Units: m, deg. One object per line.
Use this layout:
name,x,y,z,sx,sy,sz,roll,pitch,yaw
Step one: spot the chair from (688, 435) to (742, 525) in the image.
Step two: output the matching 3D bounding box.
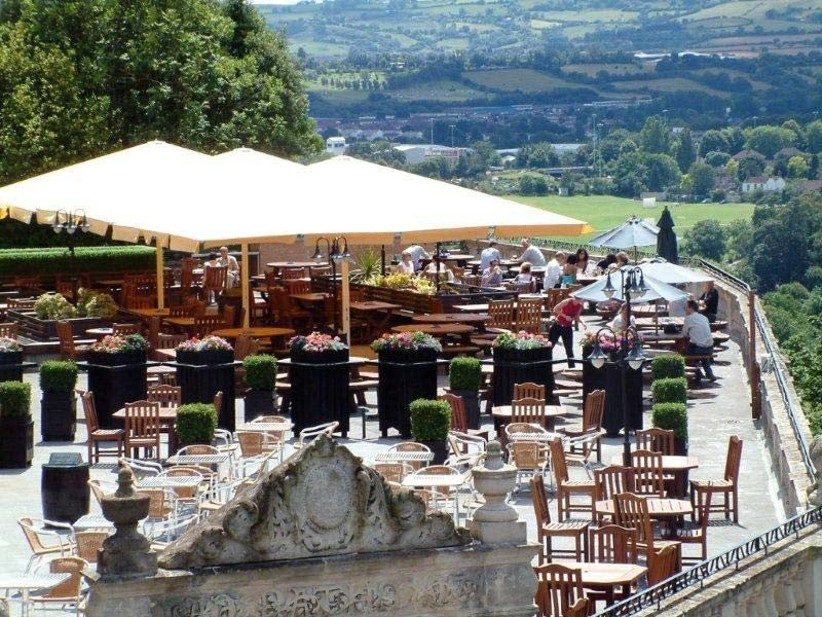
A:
chair,5.234,2.886,34.504,0.853,1.652,0.959,0,10,7

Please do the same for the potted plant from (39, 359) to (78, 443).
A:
potted plant,-6.466,1.749,37.762,0.641,1.576,0.563,4,12,37

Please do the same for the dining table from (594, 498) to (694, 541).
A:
dining table,4.073,3.559,33.387,1.821,0.719,1.700,-3,3,38

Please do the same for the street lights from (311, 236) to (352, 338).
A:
street lights,-1.789,-0.422,46.167,0.779,2.425,0.727,9,15,44

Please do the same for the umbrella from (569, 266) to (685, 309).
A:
umbrella,4.602,-0.458,43.346,1.847,0.991,1.763,-3,8,33

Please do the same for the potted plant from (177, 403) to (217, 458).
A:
potted plant,-3.768,2.166,35.757,0.742,0.964,0.725,0,0,-9

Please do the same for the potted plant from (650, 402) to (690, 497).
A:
potted plant,4.720,2.469,36.192,0.662,1.445,0.552,-1,6,24

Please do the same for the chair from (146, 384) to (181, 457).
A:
chair,-4.527,2.090,37.137,0.593,1.250,0.545,-2,7,-1

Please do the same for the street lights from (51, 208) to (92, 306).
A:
street lights,-8.496,-1.222,50.472,0.578,2.326,0.649,7,16,39

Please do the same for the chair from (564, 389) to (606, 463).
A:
chair,3.225,2.165,36.742,0.687,1.283,0.626,1,9,33

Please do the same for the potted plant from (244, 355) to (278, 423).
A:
potted plant,-2.888,1.533,38.938,0.638,1.129,1.001,-2,19,-5

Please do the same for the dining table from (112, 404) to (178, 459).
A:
dining table,-4.804,2.182,36.183,1.186,1.639,0.965,0,8,-4

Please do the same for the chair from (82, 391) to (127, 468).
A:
chair,-5.592,2.310,36.618,0.850,1.649,0.732,7,12,44

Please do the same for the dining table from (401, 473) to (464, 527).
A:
dining table,0.404,3.259,32.969,0.948,0.768,0.898,-1,-3,2

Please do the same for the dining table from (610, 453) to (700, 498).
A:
dining table,4.258,2.967,34.522,1.733,0.745,1.494,0,6,28

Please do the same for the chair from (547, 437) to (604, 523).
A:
chair,2.735,2.912,34.574,1.158,2.083,1.163,-1,6,6

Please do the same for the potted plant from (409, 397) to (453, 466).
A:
potted plant,0.385,2.245,36.582,0.942,1.479,0.973,0,0,-4

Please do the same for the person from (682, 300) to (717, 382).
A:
person,6.193,0.694,43.267,0.805,1.724,0.714,5,11,41

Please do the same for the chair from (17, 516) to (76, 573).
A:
chair,-5.750,3.728,31.766,0.877,0.786,0.989,1,10,-5

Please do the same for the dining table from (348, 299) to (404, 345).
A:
dining table,-0.886,0.323,46.337,0.950,1.063,0.976,-9,9,-31

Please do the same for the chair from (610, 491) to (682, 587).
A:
chair,3.883,3.657,32.274,0.706,1.168,1.317,-7,20,-20

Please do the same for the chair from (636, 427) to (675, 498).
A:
chair,4.115,2.634,34.242,0.585,1.154,0.693,-11,10,-43
